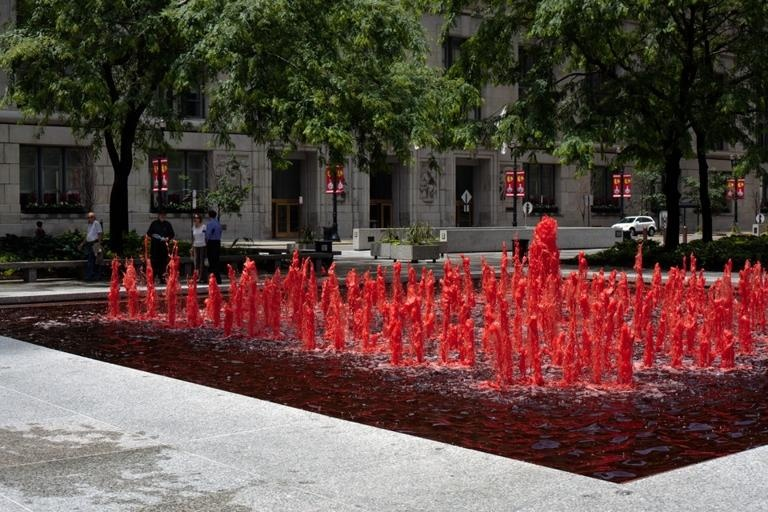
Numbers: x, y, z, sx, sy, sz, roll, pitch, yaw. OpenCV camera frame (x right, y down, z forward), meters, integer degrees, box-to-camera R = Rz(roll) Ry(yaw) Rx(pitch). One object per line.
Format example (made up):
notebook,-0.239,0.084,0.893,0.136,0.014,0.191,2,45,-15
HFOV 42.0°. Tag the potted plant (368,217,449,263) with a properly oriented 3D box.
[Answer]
potted plant,0.895,-0.433,37.826,2.539,1.297,1.574,-2,-1,44

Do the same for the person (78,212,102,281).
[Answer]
person,-8.186,-0.235,27.810,0.466,1.516,1.196,-1,-1,-33
